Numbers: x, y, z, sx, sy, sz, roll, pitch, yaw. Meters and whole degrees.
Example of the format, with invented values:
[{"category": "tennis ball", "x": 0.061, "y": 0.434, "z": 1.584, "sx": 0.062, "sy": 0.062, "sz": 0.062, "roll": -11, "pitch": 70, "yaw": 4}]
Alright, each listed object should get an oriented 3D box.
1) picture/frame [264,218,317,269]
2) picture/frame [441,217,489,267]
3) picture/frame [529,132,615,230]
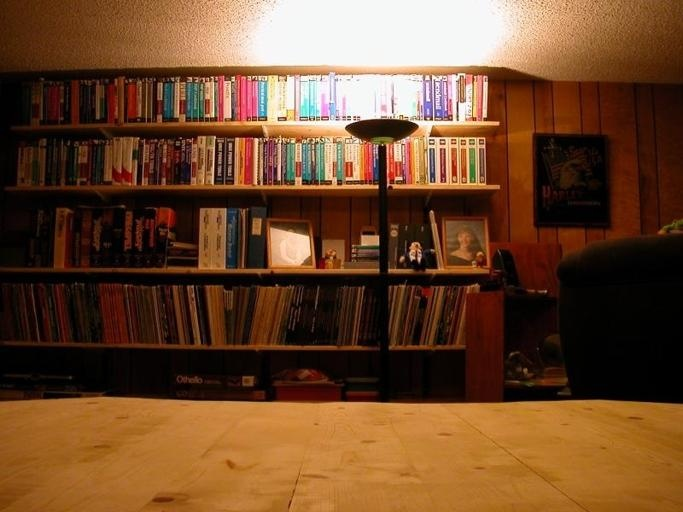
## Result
[{"category": "picture/frame", "x": -0.281, "y": -0.061, "z": 3.041, "sx": 0.292, "sy": 0.329, "sz": 0.035, "roll": -1, "pitch": -32, "yaw": -16}, {"category": "picture/frame", "x": 0.644, "y": -0.065, "z": 3.048, "sx": 0.261, "sy": 0.306, "sz": 0.020, "roll": 2, "pitch": -24, "yaw": -3}, {"category": "picture/frame", "x": 1.296, "y": -0.406, "z": 3.302, "sx": 0.546, "sy": 0.693, "sz": 0.059, "roll": 1, "pitch": -5, "yaw": -4}]
